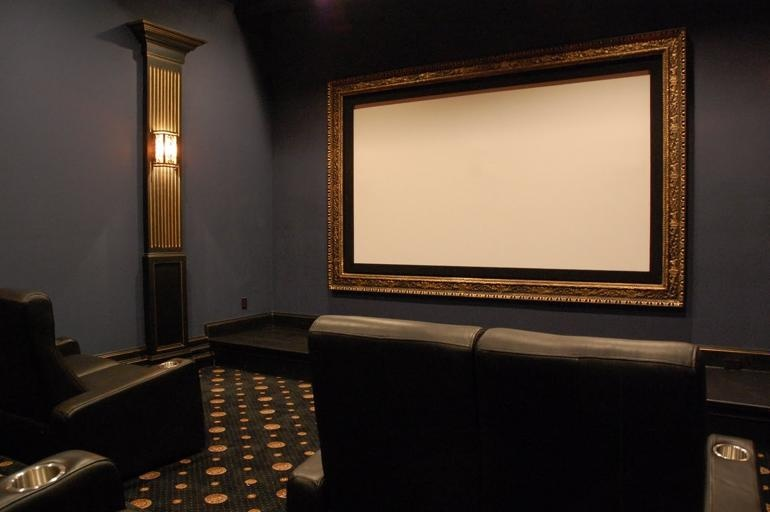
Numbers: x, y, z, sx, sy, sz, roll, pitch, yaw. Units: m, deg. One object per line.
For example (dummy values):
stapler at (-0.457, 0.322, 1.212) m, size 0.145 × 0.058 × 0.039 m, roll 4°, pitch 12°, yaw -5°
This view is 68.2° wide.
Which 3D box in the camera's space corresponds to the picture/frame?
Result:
picture/frame at (0.965, -0.762, 5.671) m, size 3.780 × 2.340 × 0.130 m, roll 2°, pitch 6°, yaw 32°
